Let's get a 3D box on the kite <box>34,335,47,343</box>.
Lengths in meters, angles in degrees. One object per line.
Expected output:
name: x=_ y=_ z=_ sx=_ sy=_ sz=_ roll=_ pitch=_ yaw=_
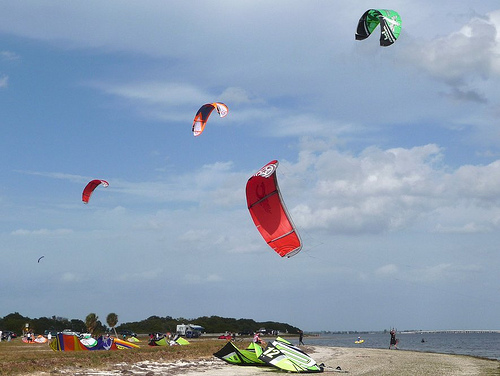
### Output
kite: x=-23.522 y=17.036 z=90.952 sx=1.251 sy=0.804 sz=2.162 roll=-4 pitch=-8 yaw=-3

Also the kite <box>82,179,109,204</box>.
kite: x=-17.271 y=0.454 z=89.022 sx=1.947 sy=2.160 sz=3.475 roll=-2 pitch=-9 yaw=-21

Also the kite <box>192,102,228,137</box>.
kite: x=-4.057 y=-6.611 z=79.037 sx=2.276 sy=2.706 sz=3.095 roll=-1 pitch=-9 yaw=-22
